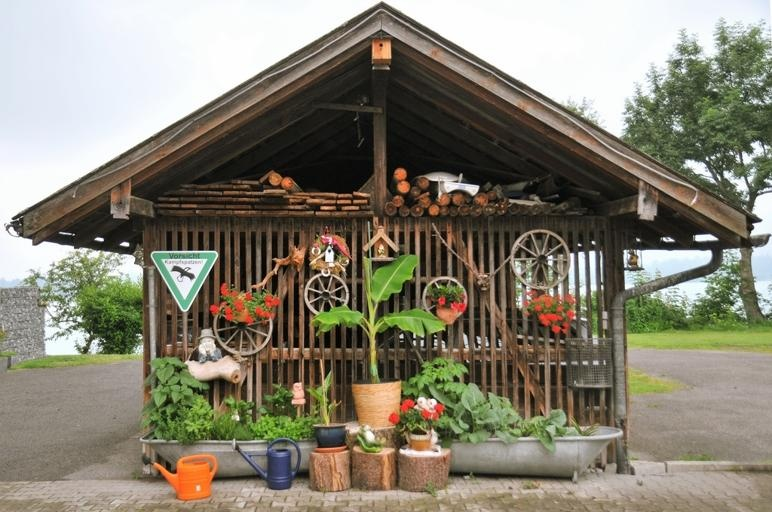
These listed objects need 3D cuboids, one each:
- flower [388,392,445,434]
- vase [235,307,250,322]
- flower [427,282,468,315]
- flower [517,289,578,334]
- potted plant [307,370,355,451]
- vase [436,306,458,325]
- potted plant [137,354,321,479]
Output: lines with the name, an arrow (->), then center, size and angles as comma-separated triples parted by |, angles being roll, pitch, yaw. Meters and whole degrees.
flower -> 0.725, 3.330, 18.299 | 0.827, 0.626, 0.867 | 0, -9, 17
vase -> -3.192, 1.321, 19.002 | 0.353, 0.333, 0.161 | 3, -7, -22
flower -> 1.373, 0.894, 19.019 | 0.720, 0.806, 0.304 | 0, 4, 9
flower -> 3.861, 1.243, 19.462 | 0.950, 0.618, 1.023 | 12, 19, 9
potted plant -> -1.294, 3.342, 18.690 | 0.846, 1.662, 1.148 | 1, -7, -6
vase -> 1.372, 1.296, 19.019 | 0.381, 0.313, 0.404 | 3, -7, 4
potted plant -> -3.509, 3.570, 18.915 | 3.494, 1.624, 2.291 | 3, 2, -7
